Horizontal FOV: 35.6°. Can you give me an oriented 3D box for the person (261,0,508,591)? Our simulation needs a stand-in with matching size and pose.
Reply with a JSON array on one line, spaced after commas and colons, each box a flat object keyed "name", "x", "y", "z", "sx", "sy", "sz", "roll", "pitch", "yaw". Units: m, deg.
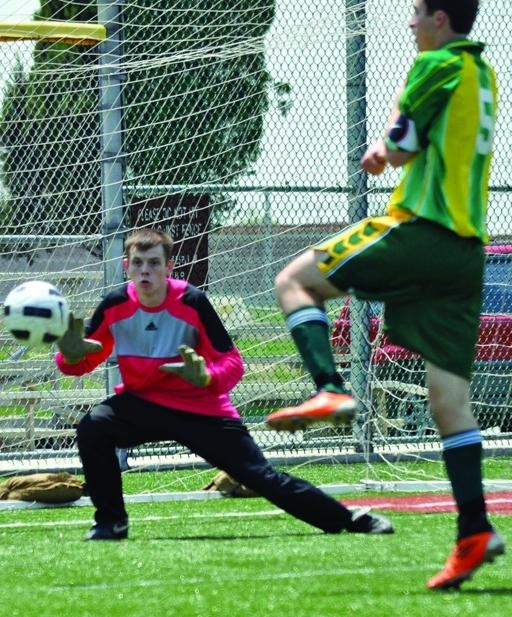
[{"name": "person", "x": 0.360, "y": -0.080, "z": 2.018, "sx": 0.691, "sy": 1.346, "sz": 0.386, "roll": -6, "pitch": 1, "yaw": -2}]

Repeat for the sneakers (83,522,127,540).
[{"name": "sneakers", "x": -0.515, "y": 0.786, "z": 2.796, "sx": 0.160, "sy": 0.052, "sz": 0.049, "roll": 8, "pitch": -14, "yaw": -24}]

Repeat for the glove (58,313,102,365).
[{"name": "glove", "x": -0.609, "y": 0.108, "z": 2.746, "sx": 0.208, "sy": 0.086, "sz": 0.233, "roll": 7, "pitch": -40, "yaw": -7}]

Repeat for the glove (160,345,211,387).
[{"name": "glove", "x": -0.253, "y": 0.203, "z": 2.766, "sx": 0.146, "sy": 0.041, "sz": 0.169, "roll": -33, "pitch": -50, "yaw": 24}]

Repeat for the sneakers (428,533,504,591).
[{"name": "sneakers", "x": 0.497, "y": 0.599, "z": 1.891, "sx": 0.201, "sy": 0.118, "sz": 0.064, "roll": -5, "pitch": 0, "yaw": -26}]

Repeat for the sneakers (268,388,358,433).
[{"name": "sneakers", "x": 0.130, "y": 0.256, "z": 1.917, "sx": 0.249, "sy": 0.097, "sz": 0.075, "roll": -5, "pitch": -49, "yaw": -1}]

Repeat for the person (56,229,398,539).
[{"name": "person", "x": -0.224, "y": 0.498, "z": 3.355, "sx": 1.427, "sy": 1.190, "sz": 0.983, "roll": 26, "pitch": -44, "yaw": -36}]

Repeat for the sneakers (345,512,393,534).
[{"name": "sneakers", "x": 0.394, "y": 0.746, "z": 2.767, "sx": 0.133, "sy": 0.037, "sz": 0.074, "roll": 3, "pitch": -13, "yaw": -2}]
